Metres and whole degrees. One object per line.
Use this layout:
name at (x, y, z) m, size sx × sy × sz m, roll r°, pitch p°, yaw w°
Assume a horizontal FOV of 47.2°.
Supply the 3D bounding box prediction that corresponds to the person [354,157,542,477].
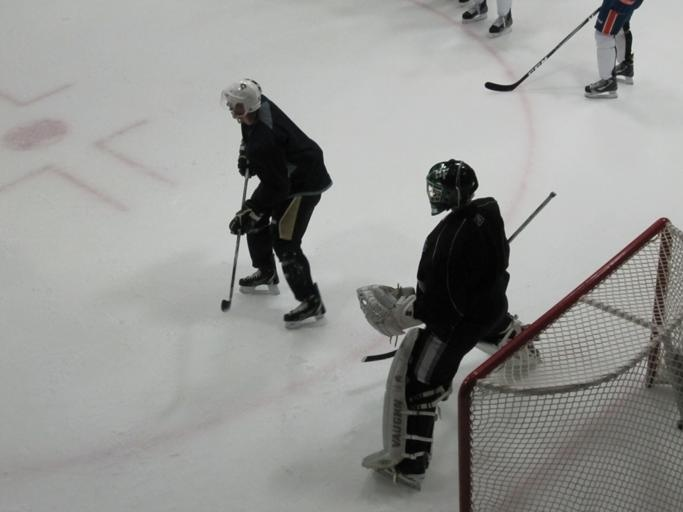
person at (0.512, 0.362, 4.532) m, size 1.181 × 1.587 × 0.622 m, roll -31°, pitch 42°, yaw -28°

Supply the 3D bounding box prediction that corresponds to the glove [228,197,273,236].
glove at (-0.633, -0.250, 5.428) m, size 0.265 × 0.119 × 0.203 m, roll -31°, pitch 25°, yaw 10°

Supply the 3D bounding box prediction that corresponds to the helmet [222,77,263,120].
helmet at (-0.670, -1.084, 5.266) m, size 0.254 × 0.258 × 0.221 m, roll 7°, pitch 56°, yaw 2°

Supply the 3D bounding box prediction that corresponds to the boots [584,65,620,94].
boots at (2.527, -1.715, 7.617) m, size 0.323 × 0.331 × 0.189 m, roll 3°, pitch 43°, yaw 10°

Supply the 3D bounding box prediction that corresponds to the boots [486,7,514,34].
boots at (1.768, -2.586, 8.644) m, size 0.355 × 0.249 × 0.120 m, roll -32°, pitch 61°, yaw -9°

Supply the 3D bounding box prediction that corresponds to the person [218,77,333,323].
person at (-0.499, -0.332, 5.783) m, size 0.858 × 1.988 × 0.953 m, roll -5°, pitch 42°, yaw -9°

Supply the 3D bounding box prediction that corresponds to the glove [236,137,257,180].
glove at (-0.662, -0.653, 5.518) m, size 0.105 × 0.132 × 0.414 m, roll -2°, pitch 43°, yaw -9°

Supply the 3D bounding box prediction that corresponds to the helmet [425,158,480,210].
helmet at (0.628, -0.411, 4.458) m, size 0.272 × 0.314 × 0.246 m, roll 2°, pitch 10°, yaw 5°

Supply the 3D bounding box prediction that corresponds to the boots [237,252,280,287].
boots at (-0.644, 0.124, 5.746) m, size 0.365 × 0.316 × 0.155 m, roll 1°, pitch 40°, yaw 3°
